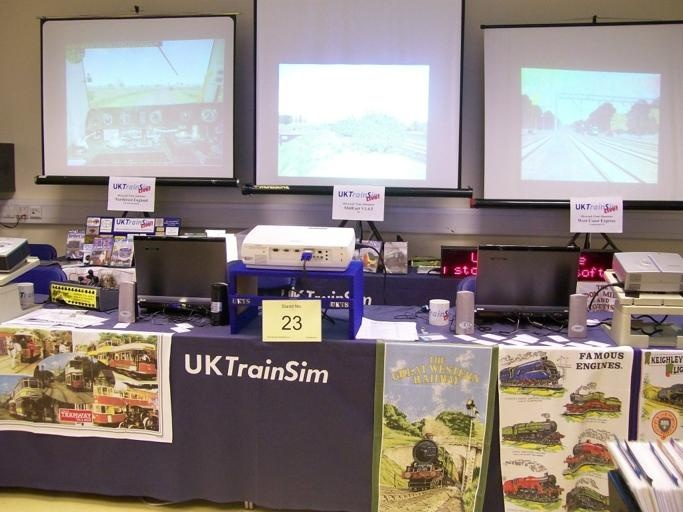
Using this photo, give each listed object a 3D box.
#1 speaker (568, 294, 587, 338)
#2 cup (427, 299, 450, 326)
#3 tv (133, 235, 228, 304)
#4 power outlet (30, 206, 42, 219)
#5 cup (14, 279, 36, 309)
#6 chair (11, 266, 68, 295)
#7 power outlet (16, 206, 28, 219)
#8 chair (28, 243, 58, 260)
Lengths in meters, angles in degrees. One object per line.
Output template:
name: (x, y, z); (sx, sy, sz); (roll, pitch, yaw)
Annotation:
speaker: (1.325, 0.339, 3.205); (0.101, 0.255, 0.031); (-2, -27, 29)
cup: (0.571, 0.338, 3.449); (0.131, 0.159, 0.137); (1, 10, 0)
tv: (-0.949, 0.071, 3.645); (0.577, 0.427, 0.433); (2, 8, 8)
power outlet: (-2.959, -0.430, 5.529); (0.102, 0.108, 0.059); (1, 8, 4)
cup: (-1.960, 0.252, 3.561); (0.127, 0.155, 0.133); (1, 1, 0)
chair: (-2.415, 0.171, 4.638); (0.436, 0.209, 0.342); (0, 7, 6)
power outlet: (-3.095, -0.427, 5.526); (0.102, 0.105, 0.027); (5, 0, 10)
chair: (-2.707, -0.083, 5.171); (0.210, 0.131, 0.299); (-1, 20, -11)
